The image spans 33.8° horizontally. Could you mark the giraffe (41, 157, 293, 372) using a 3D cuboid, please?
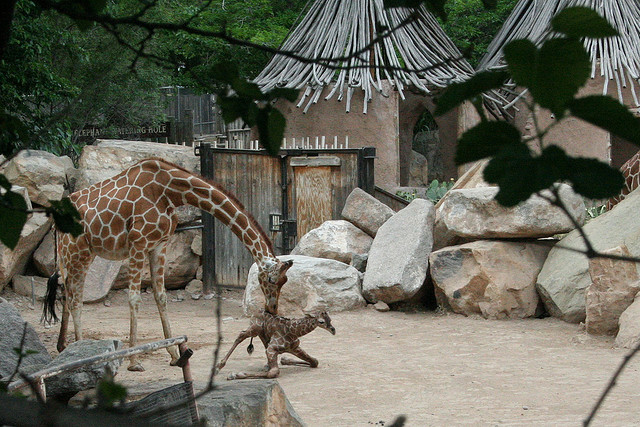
[{"bbox_3d":[-2.429,0.707,15.616,4.054,3.053,0.989,3,2,16],"label":"giraffe"}]

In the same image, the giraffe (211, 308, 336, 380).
[{"bbox_3d":[-0.604,1.815,15.146,1.994,1.232,0.755,6,9,29],"label":"giraffe"}]
